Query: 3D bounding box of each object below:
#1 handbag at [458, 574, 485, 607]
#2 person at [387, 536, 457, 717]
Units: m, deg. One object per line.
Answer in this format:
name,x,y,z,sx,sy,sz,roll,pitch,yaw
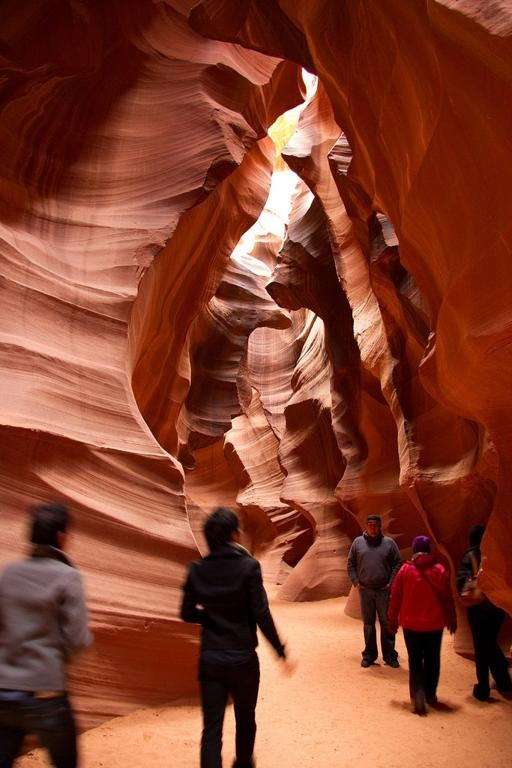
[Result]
handbag,1.286,1.254,3.954,0.132,0.179,0.144,-6,-13,31
person,1.014,1.466,3.890,0.345,0.916,0.431,-9,-15,40
